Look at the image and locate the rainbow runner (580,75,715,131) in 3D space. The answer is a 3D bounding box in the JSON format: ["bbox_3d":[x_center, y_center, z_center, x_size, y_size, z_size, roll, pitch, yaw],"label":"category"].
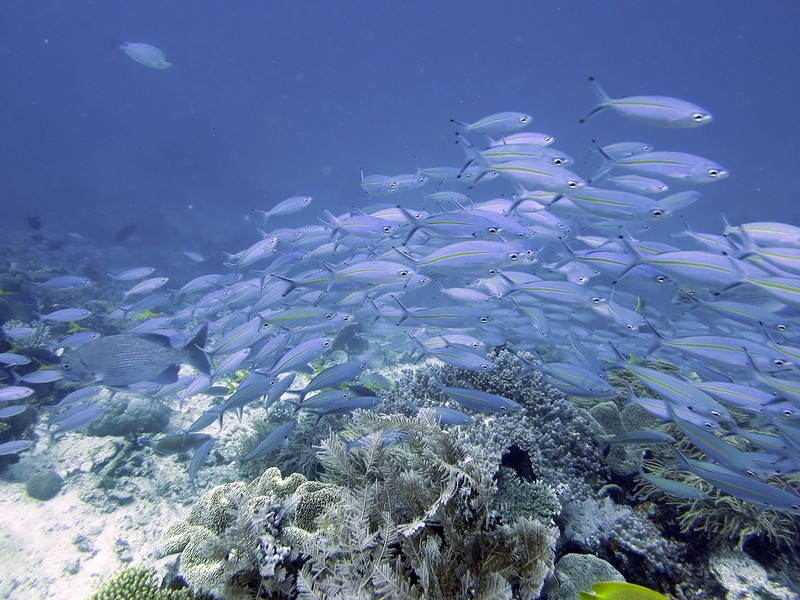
[{"bbox_3d":[5.014,-3.910,10.569,2.327,0.811,0.531,7,22,16],"label":"rainbow runner"}]
